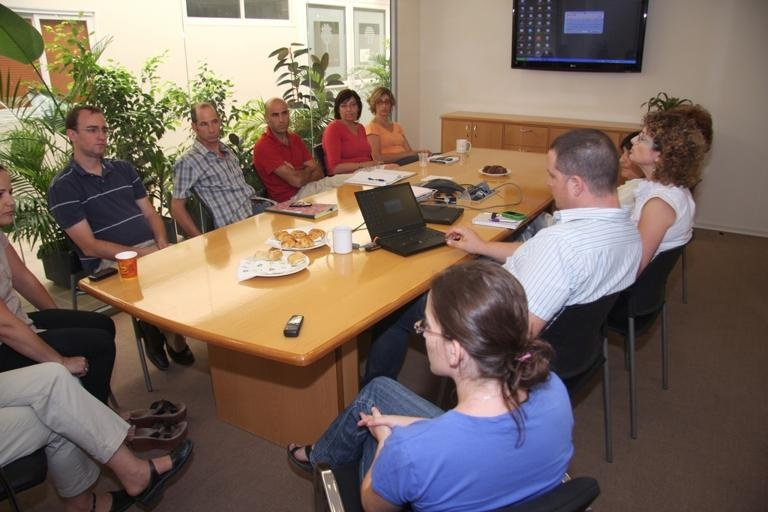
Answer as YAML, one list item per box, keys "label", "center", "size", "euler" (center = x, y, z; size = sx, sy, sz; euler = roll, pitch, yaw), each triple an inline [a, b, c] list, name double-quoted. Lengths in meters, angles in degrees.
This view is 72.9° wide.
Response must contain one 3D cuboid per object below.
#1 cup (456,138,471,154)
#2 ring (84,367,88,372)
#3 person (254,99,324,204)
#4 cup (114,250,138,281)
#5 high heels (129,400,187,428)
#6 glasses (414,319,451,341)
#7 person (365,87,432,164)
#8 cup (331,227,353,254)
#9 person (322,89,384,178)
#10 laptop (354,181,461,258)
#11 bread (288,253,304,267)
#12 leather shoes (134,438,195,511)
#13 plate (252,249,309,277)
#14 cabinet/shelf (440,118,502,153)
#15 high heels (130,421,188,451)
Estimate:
- label: "cup"
  center: [0.775, -1.071, 5.054]
  size: [0.205, 0.154, 0.127]
  euler: [-11, 21, -36]
- label: "ring"
  center: [-1.504, 0.573, 2.634]
  size: [0.021, 0.007, 0.032]
  euler: [-2, 27, -39]
- label: "person"
  center: [-0.783, -0.930, 4.582]
  size: [0.636, 0.874, 0.677]
  euler: [-17, 27, -33]
- label: "cup"
  center: [-1.354, 0.029, 2.778]
  size: [0.134, 0.142, 0.133]
  euler: [2, 23, -1]
- label: "high heels"
  center: [-1.324, 0.917, 3.054]
  size: [0.255, 0.085, 0.140]
  euler: [0, 13, -9]
- label: "glasses"
  center: [0.157, 0.267, 1.813]
  size: [0.096, 0.030, 0.093]
  euler: [19, 12, 14]
- label: "person"
  center: [0.192, -1.376, 5.660]
  size: [0.716, 0.920, 0.606]
  euler: [2, 18, 13]
- label: "cup"
  center: [-0.233, -0.088, 2.931]
  size: [0.099, 0.143, 0.157]
  euler: [0, 12, 0]
- label: "person"
  center: [-0.317, -1.249, 5.236]
  size: [0.574, 0.833, 0.536]
  euler: [-4, 13, -9]
- label: "laptop"
  center: [0.103, -0.213, 3.088]
  size: [0.467, 0.292, 0.459]
  euler: [-28, 37, -35]
- label: "bread"
  center: [-0.468, 0.013, 2.797]
  size: [0.069, 0.036, 0.069]
  euler: [-11, 29, -22]
- label: "leather shoes"
  center: [-1.127, 1.132, 2.677]
  size: [0.116, 0.149, 0.332]
  euler: [16, 55, 30]
- label: "plate"
  center: [-0.573, 0.045, 2.780]
  size: [0.184, 0.033, 0.186]
  euler: [6, 30, 4]
- label: "cabinet/shelf"
  center: [1.069, -1.454, 6.185]
  size: [0.630, 0.604, 0.267]
  euler: [8, 18, 27]
- label: "high heels"
  center: [-1.269, 1.003, 2.939]
  size: [0.255, 0.092, 0.147]
  euler: [-3, 21, -10]
